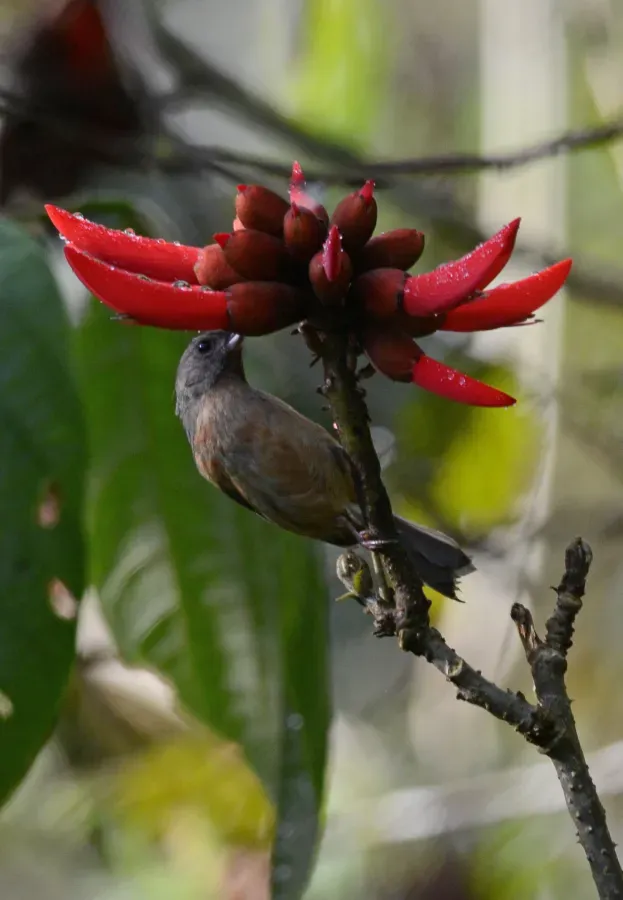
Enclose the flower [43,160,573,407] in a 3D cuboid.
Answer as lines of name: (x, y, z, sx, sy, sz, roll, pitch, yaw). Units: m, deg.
flower: (-0.007, -0.115, 0.648, 0.244, 0.068, 0.226, 8, 1, 17)
